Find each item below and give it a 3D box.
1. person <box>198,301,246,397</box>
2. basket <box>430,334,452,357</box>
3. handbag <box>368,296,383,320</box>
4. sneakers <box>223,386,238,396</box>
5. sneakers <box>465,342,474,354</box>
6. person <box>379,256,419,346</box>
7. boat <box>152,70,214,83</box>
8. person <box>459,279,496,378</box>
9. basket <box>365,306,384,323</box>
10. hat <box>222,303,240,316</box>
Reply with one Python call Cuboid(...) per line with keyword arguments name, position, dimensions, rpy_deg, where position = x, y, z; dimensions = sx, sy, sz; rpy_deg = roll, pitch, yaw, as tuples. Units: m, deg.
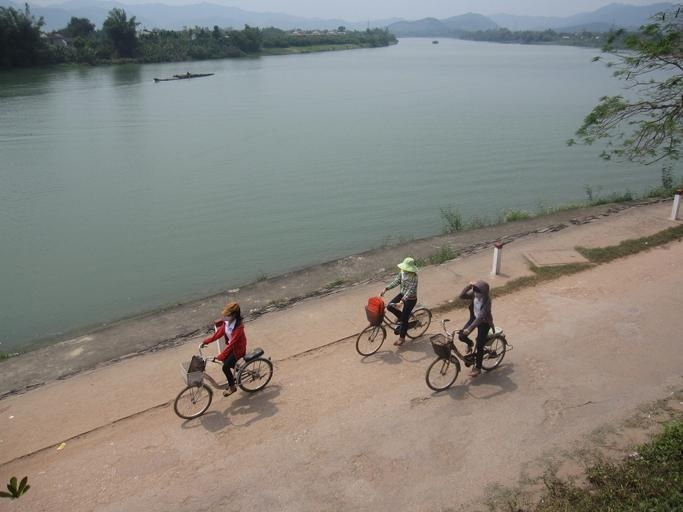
Cuboid(name="person", position=(-3.123, 2.654, 13.886), dimensions=(0.988, 2.735, 0.978), rpy_deg=(-2, 20, 11))
Cuboid(name="basket", position=(2.700, 2.364, 13.499), dimensions=(0.490, 0.503, 0.637), rpy_deg=(0, 20, 8))
Cuboid(name="handbag", position=(1.009, 1.598, 15.014), dimensions=(0.394, 0.737, 0.484), rpy_deg=(-13, 22, -33))
Cuboid(name="sneakers", position=(-3.154, 3.836, 14.107), dimensions=(0.250, 0.256, 0.115), rpy_deg=(-21, 57, -12))
Cuboid(name="sneakers", position=(3.572, 2.579, 13.998), dimensions=(0.193, 0.296, 0.264), rpy_deg=(-2, -2, -3))
Cuboid(name="person", position=(1.848, 1.417, 15.448), dimensions=(0.944, 2.877, 0.750), rpy_deg=(-4, 20, 4))
Cuboid(name="boat", position=(-30.385, -34.883, 97.119), dimensions=(7.248, 1.404, 16.342), rpy_deg=(-2, 21, 12))
Cuboid(name="person", position=(3.705, 2.076, 13.741), dimensions=(0.832, 2.900, 0.901), rpy_deg=(1, 21, 18))
Cuboid(name="basket", position=(1.002, 1.753, 15.081), dimensions=(0.375, 0.656, 0.424), rpy_deg=(-19, 26, -40))
Cuboid(name="hat", position=(-3.000, 1.424, 13.573), dimensions=(0.427, 0.345, 0.189), rpy_deg=(-50, 29, -22))
